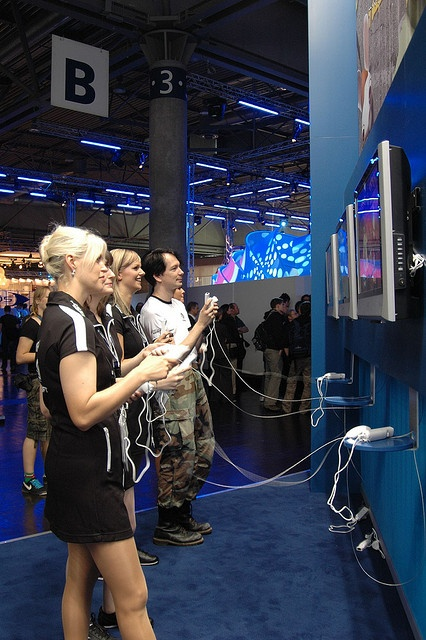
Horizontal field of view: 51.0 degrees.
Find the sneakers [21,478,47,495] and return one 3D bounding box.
[{"bbox_3d":[-1.423,1.350,3.591,0.251,0.121,0.100,3,3,30],"label":"sneakers"}]

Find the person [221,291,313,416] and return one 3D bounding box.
[{"bbox_3d":[1.137,0.532,7.266,0.810,1.911,1.576,1,-4,-7],"label":"person"}]

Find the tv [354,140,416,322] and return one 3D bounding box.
[{"bbox_3d":[0.426,-0.198,1.056,0.060,0.348,0.382,-2,6,21],"label":"tv"}]

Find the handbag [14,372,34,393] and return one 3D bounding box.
[{"bbox_3d":[-1.531,0.500,3.689,0.153,0.175,0.072,-9,-4,21],"label":"handbag"}]

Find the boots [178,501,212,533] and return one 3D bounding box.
[{"bbox_3d":[-0.132,1.207,2.777,0.239,0.261,0.108,0,-2,-8],"label":"boots"}]

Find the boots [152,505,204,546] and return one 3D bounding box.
[{"bbox_3d":[-0.220,1.221,2.668,0.334,0.269,0.149,1,-9,-3],"label":"boots"}]

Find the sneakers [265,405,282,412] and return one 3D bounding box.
[{"bbox_3d":[0.966,1.443,7.348,0.252,0.098,0.378,0,-5,8],"label":"sneakers"}]
